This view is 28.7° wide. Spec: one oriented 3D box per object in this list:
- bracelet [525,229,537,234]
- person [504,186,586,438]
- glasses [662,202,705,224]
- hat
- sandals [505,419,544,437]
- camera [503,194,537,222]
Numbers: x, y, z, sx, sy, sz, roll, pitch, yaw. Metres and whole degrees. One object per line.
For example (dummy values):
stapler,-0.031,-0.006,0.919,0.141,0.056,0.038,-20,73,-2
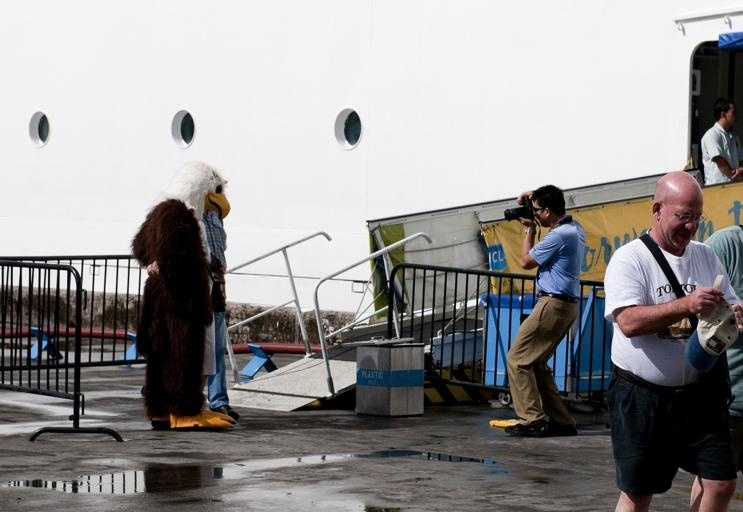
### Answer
bracelet,1.673,-0.271,15.278,0.087,0.048,0.086,-1,-8,32
person,1.750,0.550,14.680,0.818,2.542,0.520,-11,-7,43
glasses,2.352,-0.307,10.733,0.282,0.131,0.113,-2,-6,-27
hat,2.525,0.532,10.615,0.383,0.598,0.202,41,-16,-26
sandals,1.541,1.731,14.598,0.435,0.166,0.139,2,-1,7
camera,1.549,-0.494,15.070,0.264,0.178,0.323,-1,0,-3
